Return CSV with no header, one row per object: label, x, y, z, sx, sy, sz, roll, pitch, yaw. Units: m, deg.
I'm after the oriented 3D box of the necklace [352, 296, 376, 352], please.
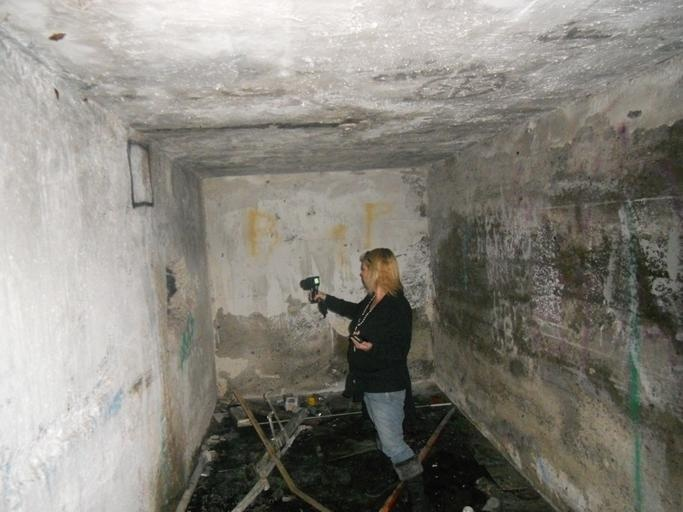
necklace,0.141,0.457,3.743,0.071,0.316,0.181,21,2,-17
